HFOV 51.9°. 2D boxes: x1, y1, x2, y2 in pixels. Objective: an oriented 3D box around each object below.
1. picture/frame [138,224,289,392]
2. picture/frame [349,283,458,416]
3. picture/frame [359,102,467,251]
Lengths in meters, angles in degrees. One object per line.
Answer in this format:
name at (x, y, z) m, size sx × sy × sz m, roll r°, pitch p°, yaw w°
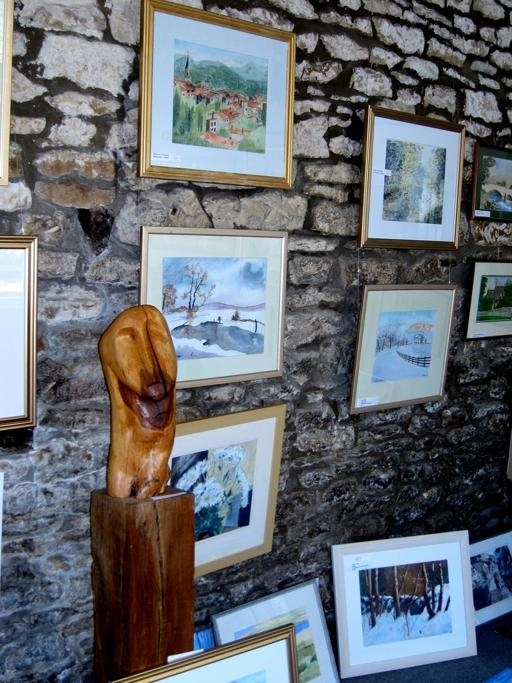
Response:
picture/frame at (-0.129, -0.110, 1.482) m, size 0.502 × 0.457 × 0.018 m, roll -8°, pitch 17°, yaw -32°
picture/frame at (0.586, 0.010, 2.092) m, size 0.013 × 0.436 × 0.456 m, roll 4°, pitch 2°, yaw -33°
picture/frame at (0.563, -0.609, 1.931) m, size 0.629 × 0.574 × 0.041 m, roll -1°, pitch 7°, yaw -40°
